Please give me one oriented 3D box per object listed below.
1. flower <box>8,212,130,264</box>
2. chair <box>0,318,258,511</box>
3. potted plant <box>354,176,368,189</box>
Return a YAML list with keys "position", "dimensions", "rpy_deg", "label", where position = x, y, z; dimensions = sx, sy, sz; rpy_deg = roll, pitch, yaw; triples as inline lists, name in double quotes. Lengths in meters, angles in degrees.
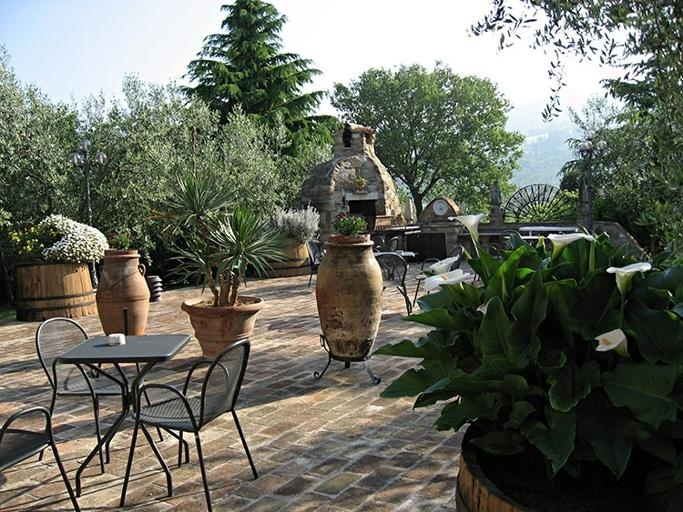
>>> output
- position: [-4.993, -0.347, 7.481]
  dimensions: [1.585, 0.883, 0.867]
  rpy_deg: [0, 4, 31]
  label: "flower"
- position: [-1.316, 0.979, 2.942]
  dimensions: [1.509, 0.995, 0.906]
  rpy_deg: [0, 5, 9]
  label: "chair"
- position: [0.652, -2.614, 14.653]
  dimensions: [0.406, 0.305, 0.415]
  rpy_deg: [2, -6, -2]
  label: "potted plant"
